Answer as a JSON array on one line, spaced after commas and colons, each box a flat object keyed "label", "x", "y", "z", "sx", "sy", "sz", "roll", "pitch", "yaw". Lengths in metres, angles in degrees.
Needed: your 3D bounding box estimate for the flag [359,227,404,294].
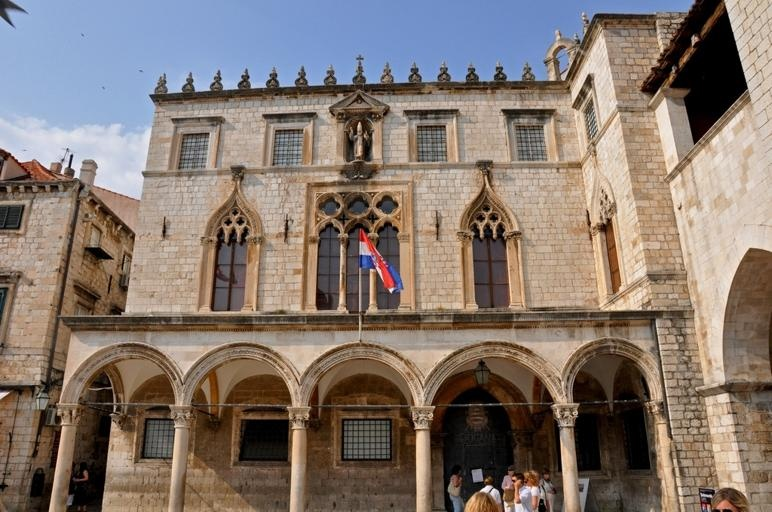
[{"label": "flag", "x": -0.163, "y": 0.274, "z": 22.521, "sx": 2.202, "sy": 2.943, "sz": 0.319, "roll": 17, "pitch": -44, "yaw": -18}]
